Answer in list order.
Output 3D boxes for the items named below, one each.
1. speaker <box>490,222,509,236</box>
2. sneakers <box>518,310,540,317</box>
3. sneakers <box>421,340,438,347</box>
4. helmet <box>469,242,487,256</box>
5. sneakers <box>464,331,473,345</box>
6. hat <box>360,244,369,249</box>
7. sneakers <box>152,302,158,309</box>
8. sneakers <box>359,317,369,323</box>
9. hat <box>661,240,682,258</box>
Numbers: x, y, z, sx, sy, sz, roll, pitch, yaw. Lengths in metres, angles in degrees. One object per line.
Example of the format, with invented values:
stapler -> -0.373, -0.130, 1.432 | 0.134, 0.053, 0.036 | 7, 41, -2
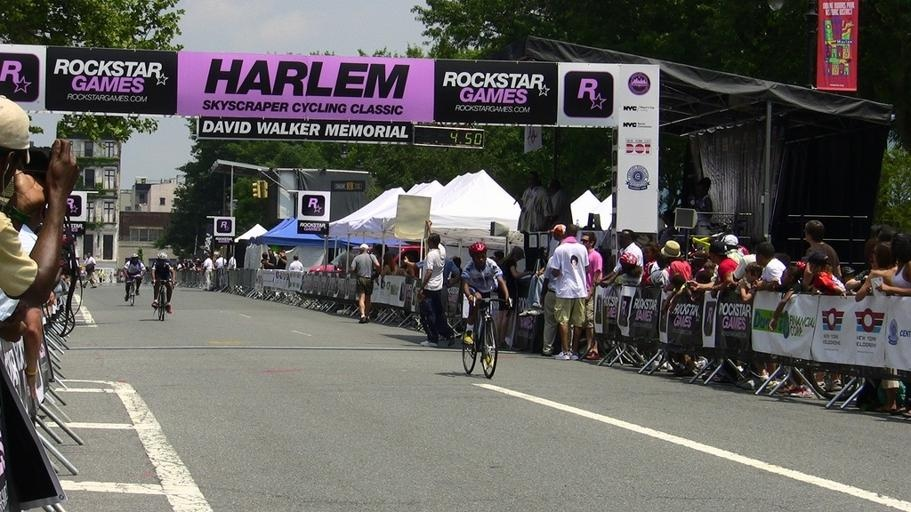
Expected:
speaker -> 1.322, -0.807, 32.040 | 0.434, 0.383, 0.584 | -5, 2, -5
sneakers -> 1.726, 1.306, 25.218 | 0.468, 0.175, 0.151 | 1, -3, -2
sneakers -> -0.642, 2.110, 26.419 | 0.396, 0.148, 0.139 | 2, -1, 1
helmet -> 0.464, -0.164, 22.211 | 0.400, 0.224, 0.544 | -1, 4, 0
sneakers -> 0.260, 1.554, 20.925 | 0.184, 0.234, 0.083 | 8, 5, 25
hat -> -2.942, -0.298, 34.625 | 0.230, 0.155, 0.330 | 5, 6, 0
sneakers -> -9.310, 1.460, 33.266 | 0.225, 0.133, 0.356 | 0, -6, -7
sneakers -> -2.833, 1.921, 33.329 | 0.263, 0.161, 0.454 | -1, 5, -11
hat -> 4.666, -0.139, 23.133 | 0.451, 0.144, 0.365 | -14, 33, -34
